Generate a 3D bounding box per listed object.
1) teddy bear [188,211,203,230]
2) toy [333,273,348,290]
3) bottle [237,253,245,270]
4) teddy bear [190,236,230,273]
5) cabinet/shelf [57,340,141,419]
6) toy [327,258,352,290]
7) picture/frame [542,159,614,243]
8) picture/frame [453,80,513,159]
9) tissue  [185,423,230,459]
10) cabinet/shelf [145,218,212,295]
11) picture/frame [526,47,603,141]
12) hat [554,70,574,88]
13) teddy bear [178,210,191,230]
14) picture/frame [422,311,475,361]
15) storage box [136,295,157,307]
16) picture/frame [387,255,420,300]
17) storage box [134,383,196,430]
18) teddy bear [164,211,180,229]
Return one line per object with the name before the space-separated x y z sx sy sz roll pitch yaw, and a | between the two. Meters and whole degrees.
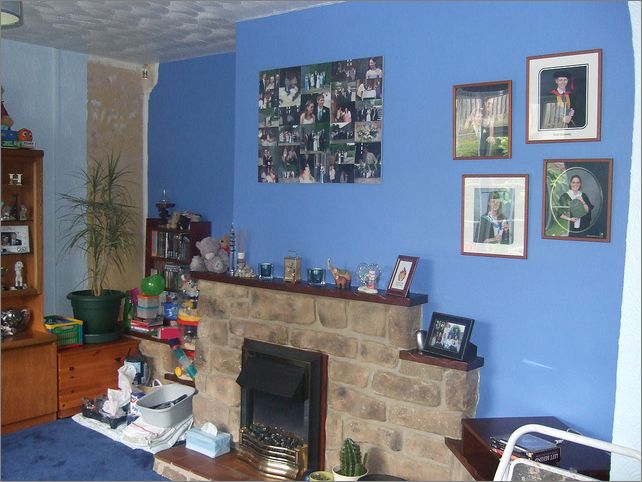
teddy bear | -1.238 -0.210 5.323 0.110 0.141 0.154 0 -8 -2
toy | 0.154 0.278 3.866 0.110 0.141 0.064 3 2 21
bottle | -0.633 0.160 4.300 0.064 0.115 0.148 1 5 -10
teddy bear | -0.913 0.104 4.461 0.301 0.293 0.201 1 33 -15
cabinet/shelf | -2.043 1.278 4.927 0.237 0.570 0.616 -2 -1 42
toy | 0.145 0.263 4.000 0.210 0.281 0.117 3 5 24
picture/frame | 1.556 -0.243 3.231 0.440 0.654 0.023 1 2 34
picture/frame | 1.058 -0.780 3.474 0.456 0.678 0.026 1 1 30
tissue  | -0.882 1.538 4.222 0.353 0.184 0.205 5 5 33
cabinet/shelf | -1.348 0.150 5.189 0.689 0.777 0.226 -1 -3 44
picture/frame | 1.483 -0.878 3.246 0.506 0.726 0.025 2 4 33
hat | 1.461 -0.959 3.252 0.098 0.118 0.096 -3 -15 26
teddy bear | -1.394 -0.206 5.469 0.138 0.264 0.173 3 -2 -16
picture/frame | 0.831 0.621 3.474 0.214 0.234 0.126 10 -15 38
storage box | -1.700 0.588 5.304 0.125 0.085 0.126 1 0 -39
picture/frame | 0.569 0.251 3.660 0.023 0.356 0.240 24 -8 -30
storage box | -1.310 1.396 4.588 0.303 0.163 0.383 3 4 32
teddy bear | -1.501 -0.198 5.478 0.069 0.187 0.131 31 -29 -36
